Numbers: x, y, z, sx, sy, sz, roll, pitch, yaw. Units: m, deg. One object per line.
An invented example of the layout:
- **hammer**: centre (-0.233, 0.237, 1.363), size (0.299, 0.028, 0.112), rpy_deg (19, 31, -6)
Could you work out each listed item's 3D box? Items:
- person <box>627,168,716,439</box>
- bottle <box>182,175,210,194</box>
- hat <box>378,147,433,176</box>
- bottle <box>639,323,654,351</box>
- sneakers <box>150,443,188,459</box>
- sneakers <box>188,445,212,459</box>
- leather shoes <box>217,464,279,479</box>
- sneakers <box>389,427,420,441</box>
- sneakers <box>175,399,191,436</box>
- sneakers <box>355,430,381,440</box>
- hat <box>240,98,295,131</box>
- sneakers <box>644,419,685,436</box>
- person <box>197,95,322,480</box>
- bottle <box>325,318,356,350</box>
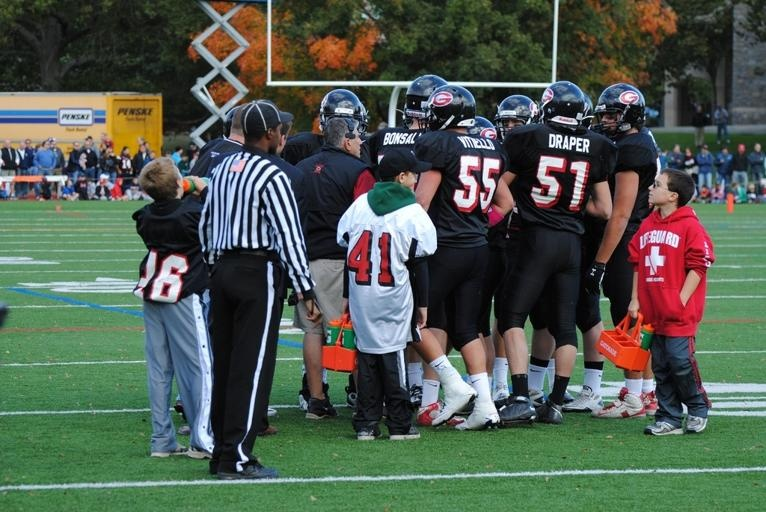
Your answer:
- **person**: centre (2.969, 0.485, 11.743), size (0.797, 2.642, 0.912), rpy_deg (-2, 15, -9)
- **bottle**: centre (-1.881, -0.707, 11.281), size (0.089, 0.141, 0.233), rpy_deg (-47, -20, 30)
- **hat**: centre (0.202, -0.945, 11.573), size (0.603, 0.283, 0.400), rpy_deg (-5, 9, 4)
- **bottle**: centre (2.684, 0.839, 11.680), size (0.120, 0.234, 0.153), rpy_deg (7, 17, 25)
- **sneakers**: centre (-2.109, 1.877, 11.176), size (0.323, 0.137, 0.143), rpy_deg (-4, 10, -30)
- **sneakers**: centre (-1.807, 1.911, 11.114), size (0.286, 0.118, 0.102), rpy_deg (2, -2, 3)
- **leather shoes**: centre (-1.280, 2.020, 10.698), size (0.560, 0.230, 0.196), rpy_deg (-2, -1, -7)
- **sneakers**: centre (0.234, 1.801, 11.584), size (0.333, 0.135, 0.120), rpy_deg (-3, 2, -22)
- **sneakers**: centre (-2.068, 1.667, 11.729), size (0.130, 0.380, 0.266), rpy_deg (-18, 13, -6)
- **sneakers**: centre (-0.157, 1.816, 11.540), size (0.095, 0.099, 0.238), rpy_deg (0, -8, 14)
- **hat**: centre (-1.133, -1.311, 10.927), size (0.457, 0.239, 0.289), rpy_deg (-22, 29, -23)
- **sneakers**: centre (2.885, 1.757, 11.724), size (0.382, 0.157, 0.155), rpy_deg (3, -2, -6)
- **person**: centre (-1.263, 0.323, 10.776), size (1.048, 3.379, 1.070), rpy_deg (-7, 16, -24)
- **bottle**: centre (-0.465, 0.781, 11.654), size (0.420, 0.309, 0.214), rpy_deg (8, 17, 28)
